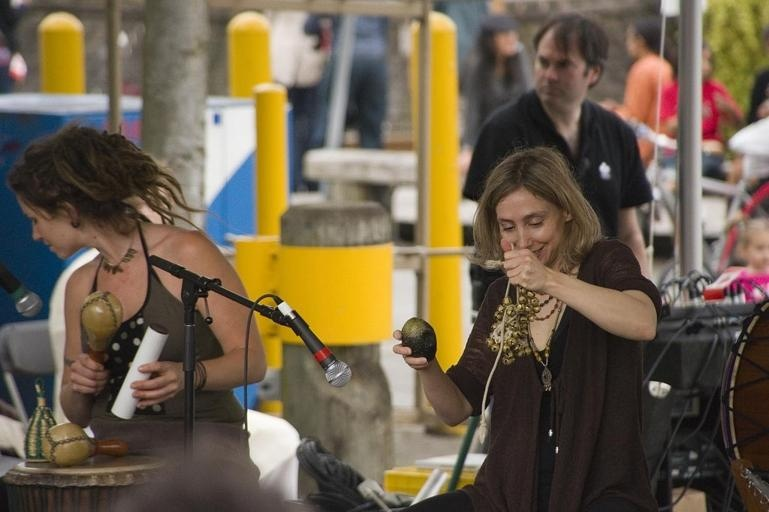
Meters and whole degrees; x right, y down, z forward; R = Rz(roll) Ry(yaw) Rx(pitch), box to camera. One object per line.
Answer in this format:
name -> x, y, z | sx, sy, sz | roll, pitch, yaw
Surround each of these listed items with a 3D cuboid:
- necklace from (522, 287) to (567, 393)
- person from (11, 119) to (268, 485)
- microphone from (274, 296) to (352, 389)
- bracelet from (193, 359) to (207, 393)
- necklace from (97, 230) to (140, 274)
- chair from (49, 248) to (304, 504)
necklace -> 0.811, 0.420, 9.189 | 0.188, 0.488, 0.212 | -1, 13, 39
person -> -1.232, 0.234, 9.294 | 1.230, 1.736, 0.656 | 0, 5, -2
microphone -> -0.341, 0.386, 8.805 | 0.137, 0.569, 0.196 | -41, 0, -11
bracelet -> -0.923, 0.605, 9.259 | 0.066, 0.152, 0.078 | -2, 5, -25
necklace -> -1.335, 0.008, 9.356 | 0.189, 0.195, 0.087 | -14, -27, 33
chair -> -1.038, 0.622, 9.236 | 1.042, 1.435, 0.756 | -10, -2, -10
